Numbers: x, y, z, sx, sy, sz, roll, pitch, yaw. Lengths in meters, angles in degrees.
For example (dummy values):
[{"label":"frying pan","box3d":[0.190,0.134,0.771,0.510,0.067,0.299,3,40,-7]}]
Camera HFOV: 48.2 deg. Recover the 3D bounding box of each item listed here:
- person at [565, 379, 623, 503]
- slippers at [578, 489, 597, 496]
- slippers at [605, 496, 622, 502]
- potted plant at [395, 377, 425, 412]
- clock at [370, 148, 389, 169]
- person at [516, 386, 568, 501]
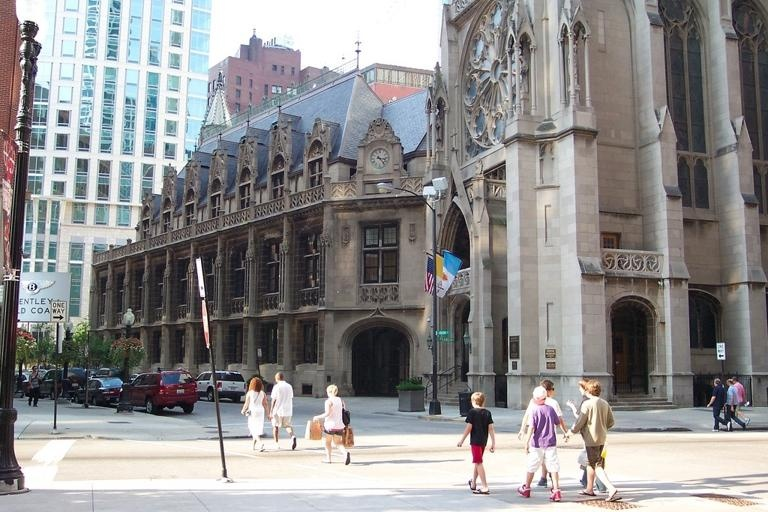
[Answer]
[{"label":"person","box3d":[5.702,4.965,23.232,1.048,3.174,0.970,-3,-10,13]},{"label":"slippers","box3d":[5.522,6.457,23.447,0.184,0.078,0.330,17,-12,-41]},{"label":"slippers","box3d":[6.138,6.455,22.967,0.310,0.168,0.697,-7,-10,30]},{"label":"potted plant","box3d":[1.384,7.192,44.408,1.469,1.684,1.539,0,-5,-4]},{"label":"clock","box3d":[-0.254,-6.240,55.437,1.309,1.267,0.085,-6,-13,14]},{"label":"person","box3d":[4.373,5.113,23.586,1.229,3.035,0.955,-3,-10,10]}]
